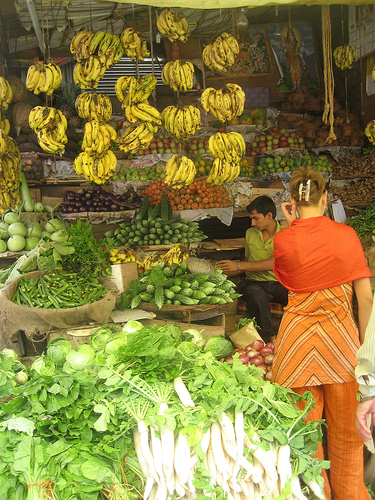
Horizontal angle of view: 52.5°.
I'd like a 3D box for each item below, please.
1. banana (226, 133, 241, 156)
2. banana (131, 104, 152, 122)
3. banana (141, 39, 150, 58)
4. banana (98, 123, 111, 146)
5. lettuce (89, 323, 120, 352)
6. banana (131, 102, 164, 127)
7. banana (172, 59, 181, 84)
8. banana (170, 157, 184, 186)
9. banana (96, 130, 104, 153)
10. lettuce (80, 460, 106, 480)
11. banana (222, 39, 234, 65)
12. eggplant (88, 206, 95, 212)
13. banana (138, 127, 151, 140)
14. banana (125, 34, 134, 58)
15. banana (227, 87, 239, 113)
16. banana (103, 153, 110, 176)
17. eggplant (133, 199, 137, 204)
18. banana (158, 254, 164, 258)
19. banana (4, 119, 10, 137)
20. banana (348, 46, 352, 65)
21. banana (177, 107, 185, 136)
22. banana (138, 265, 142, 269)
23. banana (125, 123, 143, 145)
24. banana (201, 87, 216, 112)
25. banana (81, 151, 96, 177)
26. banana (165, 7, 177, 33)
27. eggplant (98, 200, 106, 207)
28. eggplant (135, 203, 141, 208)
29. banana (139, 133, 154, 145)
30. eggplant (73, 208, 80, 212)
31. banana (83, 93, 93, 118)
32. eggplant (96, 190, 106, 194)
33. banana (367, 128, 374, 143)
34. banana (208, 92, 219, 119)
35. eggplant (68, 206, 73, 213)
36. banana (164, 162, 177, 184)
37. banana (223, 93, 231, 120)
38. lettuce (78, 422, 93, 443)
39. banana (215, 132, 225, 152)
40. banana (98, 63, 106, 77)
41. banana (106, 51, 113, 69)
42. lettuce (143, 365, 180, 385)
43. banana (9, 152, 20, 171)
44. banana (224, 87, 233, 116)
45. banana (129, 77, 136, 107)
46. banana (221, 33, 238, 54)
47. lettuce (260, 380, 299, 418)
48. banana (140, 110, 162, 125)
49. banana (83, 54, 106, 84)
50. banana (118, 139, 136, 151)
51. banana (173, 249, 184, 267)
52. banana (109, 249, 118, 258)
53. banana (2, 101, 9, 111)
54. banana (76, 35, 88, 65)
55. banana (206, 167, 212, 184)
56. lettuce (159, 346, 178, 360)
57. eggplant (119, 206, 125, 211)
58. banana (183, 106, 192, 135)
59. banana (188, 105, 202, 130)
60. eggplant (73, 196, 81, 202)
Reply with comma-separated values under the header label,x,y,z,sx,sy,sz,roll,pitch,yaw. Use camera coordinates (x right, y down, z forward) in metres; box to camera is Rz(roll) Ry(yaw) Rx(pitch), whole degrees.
label,x,y,z,sx,sy,sz,roll,pitch,yaw
banana,0.408,-0.884,3.198,0.047,0.181,0.116,-29,-10,5
banana,-0.350,-0.996,2.832,0.220,0.073,0.064,32,59,12
banana,-0.324,-1.535,2.894,0.085,0.134,0.041,-2,-5,-4
banana,-0.585,-0.823,2.732,0.059,0.157,0.120,-14,21,6
lettuce,-0.393,0.413,1.795,0.109,0.060,0.137,-29,1,-22
banana,-0.309,-0.994,2.826,0.124,0.232,0.072,-54,-5,-37
banana,-0.086,-1.364,2.923,0.066,0.166,0.048,8,-1,-17
banana,-0.064,-0.621,3.036,0.081,0.203,0.065,23,-9,30
banana,-0.608,-0.769,2.721,0.057,0.147,0.036,-5,-9,44
lettuce,-0.275,0.625,1.090,0.046,0.044,0.058,-8,21,18
banana,0.310,-1.470,2.844,0.060,0.168,0.054,-15,4,-13
eggplant,-1.123,-0.489,4.519,0.065,0.063,0.059,4,25,1
banana,-0.314,-0.859,2.816,0.099,0.064,0.025,-50,-1,-28
banana,-0.425,-1.480,2.781,0.042,0.151,0.058,9,12,8
banana,0.380,-1.195,3.033,0.107,0.159,0.048,-10,6,-39
banana,-0.601,-0.647,2.870,0.068,0.166,0.038,-6,-7,-13
eggplant,-0.642,-0.597,4.685,0.056,0.043,0.012,1,-16,-20
banana,-0.239,0.056,3.421,0.032,0.030,0.031,-3,12,-1
banana,-1.515,-1.033,3.208,0.048,0.193,0.071,-4,-17,-12
banana,1.711,-2.032,4.019,0.034,0.138,0.261,-6,20,25
banana,-0.049,-0.974,2.911,0.065,0.164,0.049,4,2,9
banana,-0.422,0.151,3.401,0.024,0.027,0.016,28,-25,-20
banana,-0.387,-0.838,2.783,0.062,0.067,0.200,27,72,35
banana,0.152,-1.185,3.015,0.140,0.153,0.049,16,-5,-23
banana,-0.693,-0.605,2.681,0.113,0.170,0.048,-20,22,-12
banana,-0.121,-1.640,2.725,0.068,0.178,0.052,-9,-6,-42
eggplant,-1.019,-0.565,4.571,0.058,0.037,0.112,2,13,6
eggplant,-0.590,-0.531,4.604,0.071,0.049,0.136,-15,19,-5
banana,-0.306,-0.826,2.840,0.112,0.028,0.067,12,51,44
eggplant,-1.312,-0.476,4.541,0.079,0.043,0.035,-5,23,20
banana,-0.720,-1.049,2.760,0.039,0.125,0.081,8,-5,26
eggplant,-1.067,-0.728,4.743,0.062,0.045,0.115,7,27,45
banana,2.618,-1.631,5.436,0.047,0.189,0.115,-17,21,2
banana,0.193,-1.142,3.016,0.049,0.138,0.118,-9,2,-20
eggplant,-1.379,-0.482,4.560,0.060,0.058,0.053,-39,29,4
banana,-0.120,-0.623,3.108,0.058,0.198,0.067,25,-13,34
banana,0.314,-1.136,3.018,0.054,0.177,0.042,-16,14,5
lettuce,-0.306,0.558,1.159,0.038,0.057,0.024,-26,23,-25
banana,0.261,-0.866,3.073,0.058,0.157,0.050,-25,0,-24
banana,-0.599,-1.284,2.723,0.028,0.102,0.029,19,-22,11
banana,-0.572,-1.374,2.774,0.036,0.119,0.046,26,-24,-15
lettuce,-0.077,0.422,1.291,0.078,0.050,0.021,-23,-12,10
banana,-1.544,-0.823,3.414,0.020,0.106,0.029,-33,5,28
banana,0.334,-1.179,3.018,0.043,0.215,0.062,-22,-17,30
banana,-0.394,-1.158,2.792,0.058,0.190,0.039,0,-6,9
banana,0.323,-1.550,2.858,0.035,0.138,0.141,-23,29,4
lettuce,0.301,0.480,1.254,0.054,0.034,0.138,15,19,-39
banana,-0.272,-0.959,2.842,0.212,0.039,0.053,28,22,-37
banana,-0.648,-1.264,2.663,0.167,0.183,0.052,14,4,-10
banana,-0.457,-0.776,2.834,0.099,0.023,0.032,-19,48,30
banana,-0.071,0.066,3.262,0.038,0.048,0.152,-53,2,33
banana,-0.629,0.024,3.287,0.054,0.020,0.065,25,35,-2
banana,-1.473,-1.168,3.082,0.045,0.046,0.182,-21,21,-17
banana,-0.754,-1.401,2.683,0.107,0.163,0.049,5,-8,30
banana,0.198,-0.614,3.191,0.061,0.134,0.038,-3,34,-18
lettuce,-0.066,0.349,1.315,0.055,0.041,0.045,-15,20,-3
eggplant,-0.777,-0.500,4.560,0.041,0.056,0.078,-4,22,27
banana,0.007,-0.988,2.907,0.062,0.171,0.049,-14,-2,-6
banana,0.061,-1.023,2.990,0.074,0.198,0.064,-30,10,-30
eggplant,-1.339,-0.623,4.631,0.069,0.032,0.062,3,21,0
